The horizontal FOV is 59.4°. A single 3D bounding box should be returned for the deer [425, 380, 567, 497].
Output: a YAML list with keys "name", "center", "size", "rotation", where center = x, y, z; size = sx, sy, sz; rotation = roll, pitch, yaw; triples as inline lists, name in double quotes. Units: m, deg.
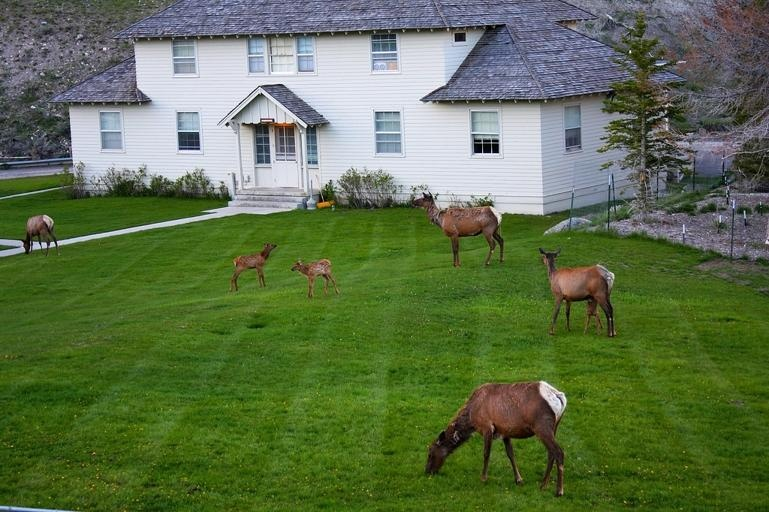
- name: "deer"
  center: [1.849, 3.117, 11.573]
  size: [2.511, 1.806, 0.740]
  rotation: [-5, -10, 23]

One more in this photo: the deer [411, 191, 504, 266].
- name: "deer"
  center: [2.556, -0.876, 22.991]
  size: [3.036, 2.377, 0.751]
  rotation: [2, 11, 13]

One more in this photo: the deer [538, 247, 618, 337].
- name: "deer"
  center: [4.856, 0.852, 16.853]
  size: [1.597, 2.632, 2.964]
  rotation: [0, -4, -1]

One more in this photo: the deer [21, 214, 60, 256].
- name: "deer"
  center: [-14.939, -0.919, 29.179]
  size: [2.446, 1.728, 0.597]
  rotation: [-8, -1, 38]

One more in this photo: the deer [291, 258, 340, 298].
- name: "deer"
  center: [-2.131, 0.603, 21.459]
  size: [1.345, 1.129, 2.278]
  rotation: [-2, 6, -5]
